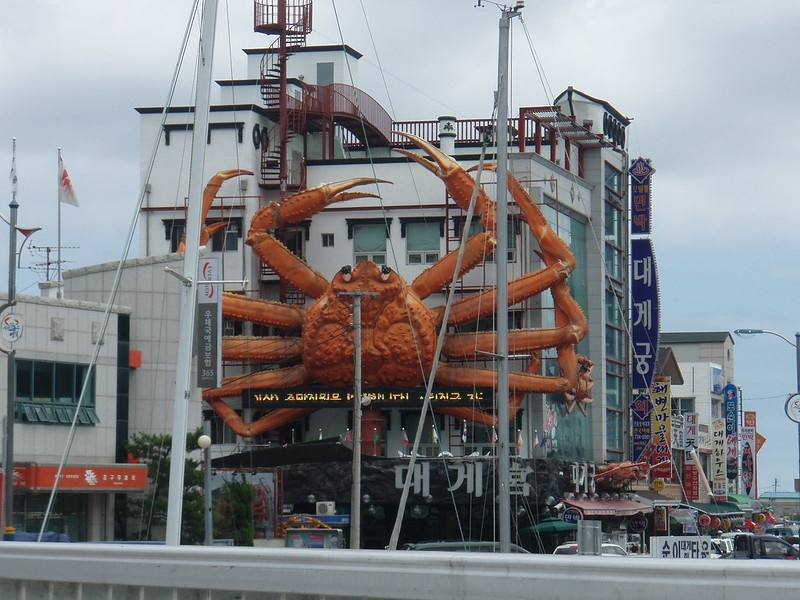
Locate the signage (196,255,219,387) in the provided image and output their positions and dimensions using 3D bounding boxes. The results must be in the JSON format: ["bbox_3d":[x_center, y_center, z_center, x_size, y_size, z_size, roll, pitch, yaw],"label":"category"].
[{"bbox_3d":[-6.976,0.738,81.276,0.899,4.978,0.376,1,16,-2],"label":"signage"}]

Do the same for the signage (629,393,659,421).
[{"bbox_3d":[11.560,5.105,107.275,1.226,1.557,0.164,1,-3,14],"label":"signage"}]

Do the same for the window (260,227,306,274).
[{"bbox_3d":[-5.624,-2.697,105.584,1.812,2.015,2.817,-6,7,8],"label":"window"}]

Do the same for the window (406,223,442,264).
[{"bbox_3d":[1.083,-2.665,104.323,1.800,2.221,0.182,-1,-5,8],"label":"window"}]

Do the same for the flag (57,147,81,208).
[{"bbox_3d":[-15.580,-5.790,103.987,1.158,2.931,0.249,-5,17,-15],"label":"flag"}]

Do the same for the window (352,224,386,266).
[{"bbox_3d":[-1.447,-2.622,104.343,1.871,2.484,0.262,-1,0,16],"label":"window"}]

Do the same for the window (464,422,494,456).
[{"bbox_3d":[3.439,6.179,99.587,1.242,1.329,0.317,-1,-3,12],"label":"window"}]

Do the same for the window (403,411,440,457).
[{"bbox_3d":[0.967,6.343,102.364,2.056,2.443,0.188,0,13,3],"label":"window"}]

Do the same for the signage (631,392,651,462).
[{"bbox_3d":[11.453,5.906,107.093,1.012,4.525,0.382,-2,35,7],"label":"signage"}]

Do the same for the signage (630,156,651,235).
[{"bbox_3d":[11.468,-5.134,107.302,1.199,3.994,0.440,-2,-17,8],"label":"signage"}]
